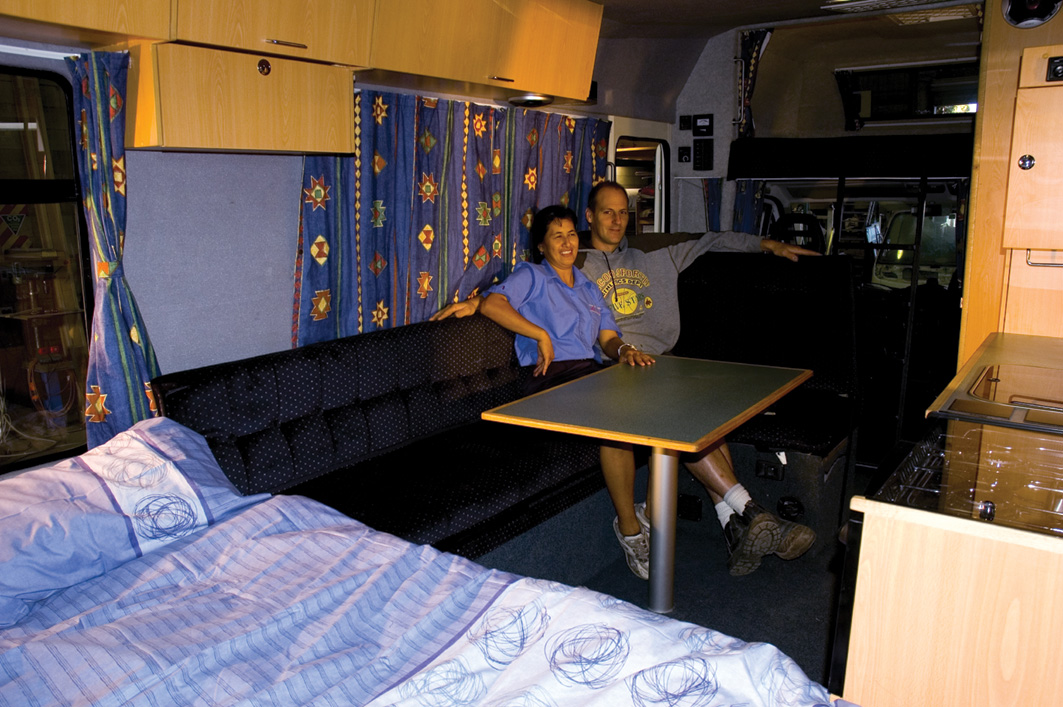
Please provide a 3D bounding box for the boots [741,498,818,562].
[{"bbox_3d":[1.116,0.825,3.318,0.468,0.171,0.209,26,6,-29],"label":"boots"}]

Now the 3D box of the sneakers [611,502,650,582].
[{"bbox_3d":[0.507,0.880,3.437,0.186,0.337,0.122,-24,-9,-1],"label":"sneakers"}]

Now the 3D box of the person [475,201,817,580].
[{"bbox_3d":[0.427,0.097,3.632,0.779,1.201,2.071,-14,28,-21],"label":"person"}]

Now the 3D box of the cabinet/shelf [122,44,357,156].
[{"bbox_3d":[-1.235,-1.086,3.127,0.297,0.410,1.013,15,21,25],"label":"cabinet/shelf"}]
